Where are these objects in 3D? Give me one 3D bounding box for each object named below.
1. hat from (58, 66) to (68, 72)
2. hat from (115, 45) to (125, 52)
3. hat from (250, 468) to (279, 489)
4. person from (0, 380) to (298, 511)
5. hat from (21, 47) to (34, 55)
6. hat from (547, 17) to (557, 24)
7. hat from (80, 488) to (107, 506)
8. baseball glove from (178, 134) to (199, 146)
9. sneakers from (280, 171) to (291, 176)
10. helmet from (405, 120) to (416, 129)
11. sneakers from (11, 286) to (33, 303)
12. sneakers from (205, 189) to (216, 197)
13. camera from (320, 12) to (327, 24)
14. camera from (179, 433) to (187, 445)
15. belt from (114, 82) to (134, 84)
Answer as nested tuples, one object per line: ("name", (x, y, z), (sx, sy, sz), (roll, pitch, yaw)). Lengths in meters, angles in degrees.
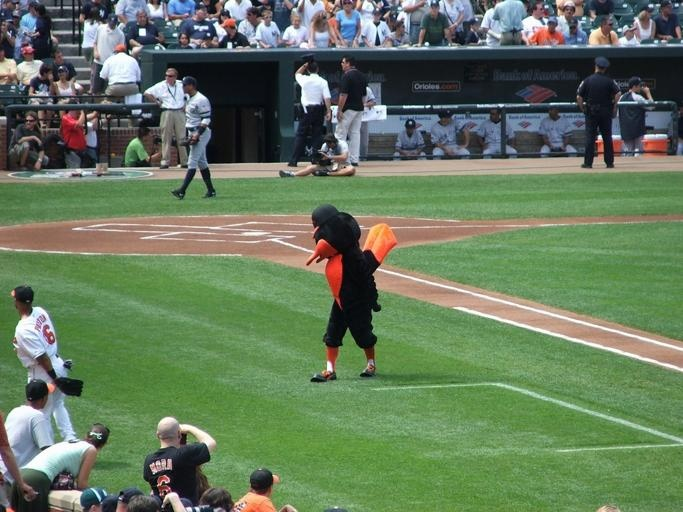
("hat", (-7.034, -4.859, 45.551), (0.184, 0.140, 0.328), (0, 5, -8))
("hat", (-5.591, -5.399, 45.867), (0.261, 0.236, 0.636), (-1, 5, -8))
("hat", (-1.123, 3.311, 26.969), (0.249, 0.201, 0.385), (9, 21, 27))
("person", (-3.007, 3.169, 27.356), (3.915, 1.428, 0.914), (1, 5, 10))
("hat", (-7.994, -5.330, 45.763), (0.312, 0.156, 0.202), (-1, 3, 37))
("hat", (5.773, -6.596, 49.432), (0.359, 0.152, 0.562), (0, 9, 7))
("hat", (-3.693, 3.621, 26.983), (0.395, 0.270, 0.257), (-1, 5, -9))
("baseball glove", (-3.253, -2.582, 39.069), (0.320, 0.131, 0.232), (-12, 3, 44))
("sneakers", (-1.316, -2.061, 43.660), (0.190, 0.074, 0.139), (24, -17, -25))
("helmet", (1.882, -3.631, 48.290), (0.447, 0.255, 0.209), (-4, 7, -42))
("sneakers", (-5.102, 0.565, 28.883), (0.239, 0.176, 0.309), (-8, 29, -36))
("sneakers", (-2.930, -1.471, 40.579), (0.224, 0.175, 0.371), (0, 5, -7))
("camera", (-0.447, -6.364, 46.944), (0.140, 0.224, 0.214), (-2, 12, -5))
("camera", (-2.413, 2.813, 27.703), (0.152, 0.259, 0.147), (1, 0, -4))
("belt", (-5.480, -4.461, 45.491), (0.451, 0.070, 0.119), (0, 5, -8))
